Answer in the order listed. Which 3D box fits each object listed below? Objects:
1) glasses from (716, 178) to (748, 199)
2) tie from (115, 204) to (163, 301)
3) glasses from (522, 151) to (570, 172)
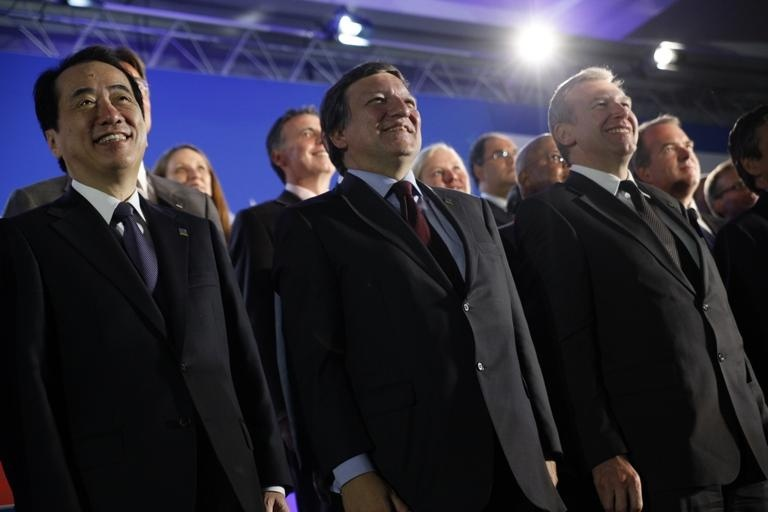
[{"bbox_3d":[2.038,-0.403,4.413,0.101,0.032,0.104,-12,-10,-17],"label":"glasses"},{"bbox_3d":[-0.815,-0.025,2.442,0.129,0.322,0.073,-9,-7,-7],"label":"tie"},{"bbox_3d":[0.860,-0.496,3.968,0.176,0.058,0.131,-3,1,2],"label":"glasses"}]
